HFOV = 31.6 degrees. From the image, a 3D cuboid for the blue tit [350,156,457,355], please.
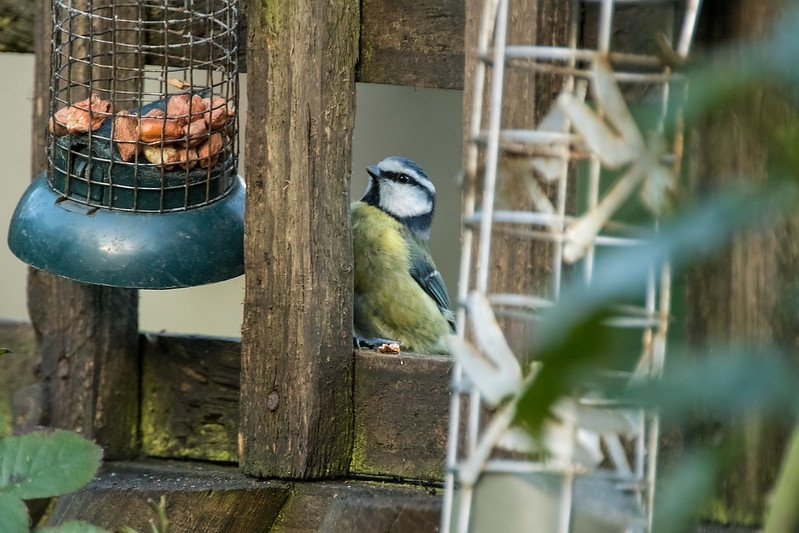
[{"bbox_3d":[0.205,-0.039,4.602,0.419,0.599,0.698,1,-1,5],"label":"blue tit"}]
